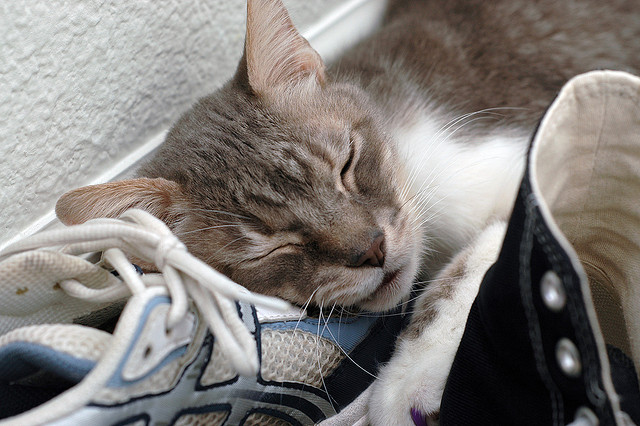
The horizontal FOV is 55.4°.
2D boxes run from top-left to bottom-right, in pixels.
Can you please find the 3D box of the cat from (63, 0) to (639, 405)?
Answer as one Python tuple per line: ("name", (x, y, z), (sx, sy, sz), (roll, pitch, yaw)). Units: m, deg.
("cat", (0.121, -0.156, 1.228), (0.717, 0.360, 0.986), (34, 69, 12))
